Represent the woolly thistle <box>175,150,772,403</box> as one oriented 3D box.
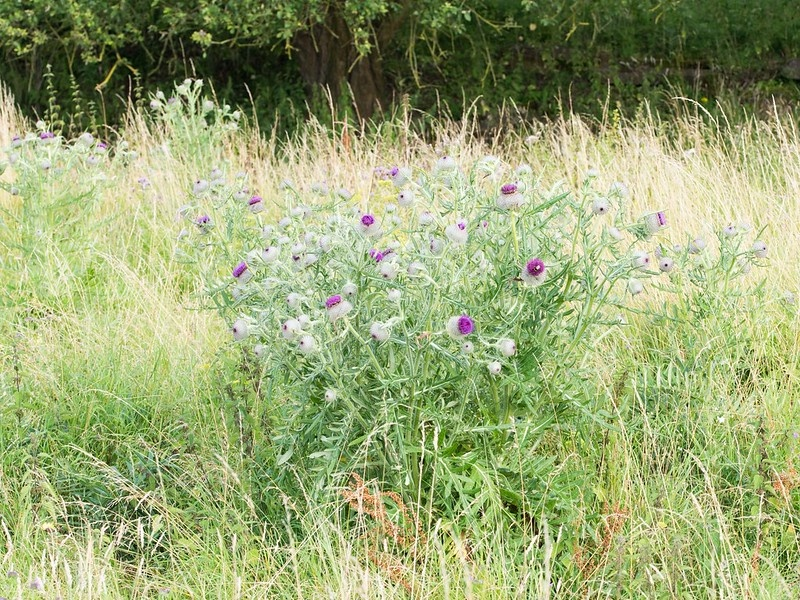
[{"bbox_3d":[0.258,-0.120,6.659,2.871,1.440,1.497,-8,13,-14],"label":"woolly thistle"}]
